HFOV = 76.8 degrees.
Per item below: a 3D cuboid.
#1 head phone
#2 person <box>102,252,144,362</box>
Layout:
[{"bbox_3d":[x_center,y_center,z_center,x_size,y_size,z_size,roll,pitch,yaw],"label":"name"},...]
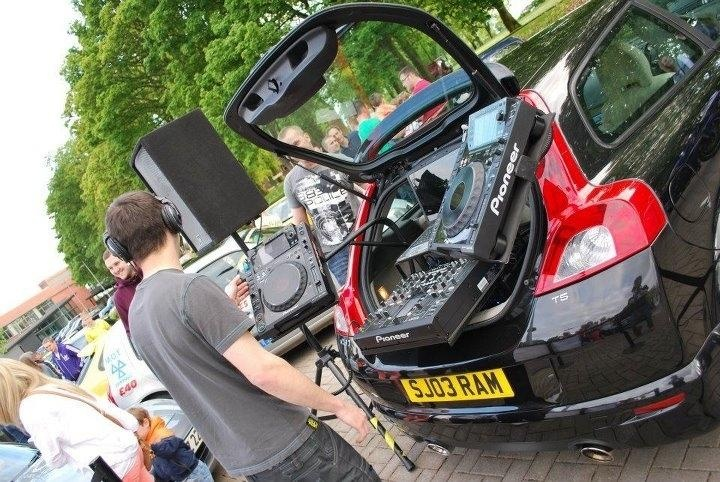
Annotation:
[{"bbox_3d":[-1.087,-0.066,2.402,0.573,0.221,0.490,-4,0,3],"label":"head phone"},{"bbox_3d":[-2.373,0.722,4.875,0.361,1.077,0.354,-1,12,-1],"label":"person"}]
